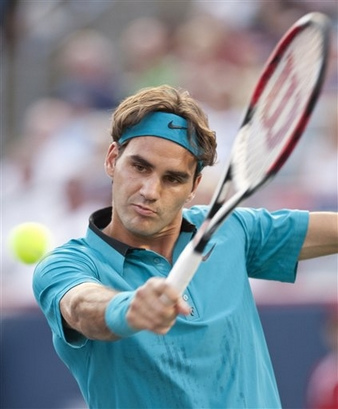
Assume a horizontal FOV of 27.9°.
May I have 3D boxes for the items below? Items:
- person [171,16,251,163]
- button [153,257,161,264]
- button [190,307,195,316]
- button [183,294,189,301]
[{"bbox_3d":[0.409,-1.154,6.462,0.447,1.411,1.090,-6,-4,14],"label":"person"},{"bbox_3d":[-0.054,0.236,2.901,0.031,0.027,0.009,2,-2,-3],"label":"button"},{"bbox_3d":[0.099,0.440,2.825,0.017,0.028,0.039,4,25,-4],"label":"button"},{"bbox_3d":[0.069,0.387,2.837,0.023,0.019,0.005,-2,-9,-26],"label":"button"}]
